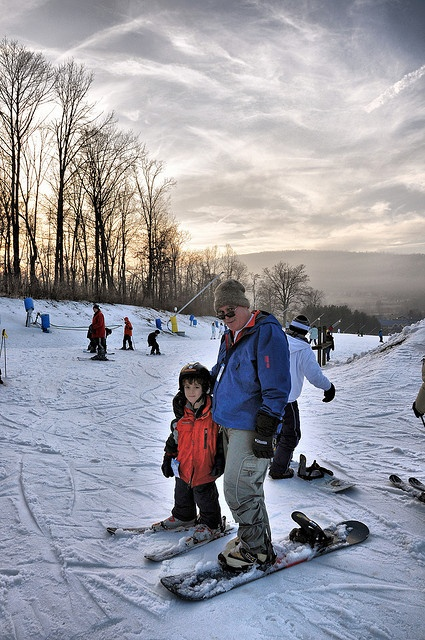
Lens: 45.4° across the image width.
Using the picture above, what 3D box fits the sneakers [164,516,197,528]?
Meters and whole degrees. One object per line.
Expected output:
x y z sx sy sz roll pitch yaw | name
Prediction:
-0.233 1.515 3.832 0.258 0.110 0.087 -3 10 0 | sneakers

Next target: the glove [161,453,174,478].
-0.323 1.044 3.649 0.104 0.148 0.054 -4 -11 7 | glove

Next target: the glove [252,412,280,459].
0.312 0.676 2.986 0.151 0.302 0.142 3 2 7 | glove

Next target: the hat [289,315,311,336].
0.898 0.060 5.208 0.160 0.170 0.221 17 -13 16 | hat

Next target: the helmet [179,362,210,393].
-0.120 0.371 3.566 0.170 0.228 0.203 -2 10 3 | helmet

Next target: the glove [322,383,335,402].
1.083 0.677 4.717 0.083 0.186 0.321 3 2 13 | glove

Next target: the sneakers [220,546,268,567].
0.193 1.471 3.214 0.310 0.151 0.120 3 22 8 | sneakers

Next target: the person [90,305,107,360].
-3.065 0.384 13.816 0.409 1.467 1.322 2 2 -12 | person

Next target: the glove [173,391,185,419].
-0.230 0.602 3.621 0.127 0.166 0.104 0 -20 2 | glove

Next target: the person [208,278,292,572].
0.230 0.648 3.194 0.364 1.813 0.610 2 3 -29 | person

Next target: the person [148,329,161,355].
-2.011 0.749 17.818 0.416 0.805 1.764 3 1 -6 | person

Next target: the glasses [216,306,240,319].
0.092 -0.044 3.281 0.094 0.033 0.098 -14 8 37 | glasses

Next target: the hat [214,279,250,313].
0.099 -0.151 3.364 0.198 0.217 0.223 -2 -9 -16 | hat
